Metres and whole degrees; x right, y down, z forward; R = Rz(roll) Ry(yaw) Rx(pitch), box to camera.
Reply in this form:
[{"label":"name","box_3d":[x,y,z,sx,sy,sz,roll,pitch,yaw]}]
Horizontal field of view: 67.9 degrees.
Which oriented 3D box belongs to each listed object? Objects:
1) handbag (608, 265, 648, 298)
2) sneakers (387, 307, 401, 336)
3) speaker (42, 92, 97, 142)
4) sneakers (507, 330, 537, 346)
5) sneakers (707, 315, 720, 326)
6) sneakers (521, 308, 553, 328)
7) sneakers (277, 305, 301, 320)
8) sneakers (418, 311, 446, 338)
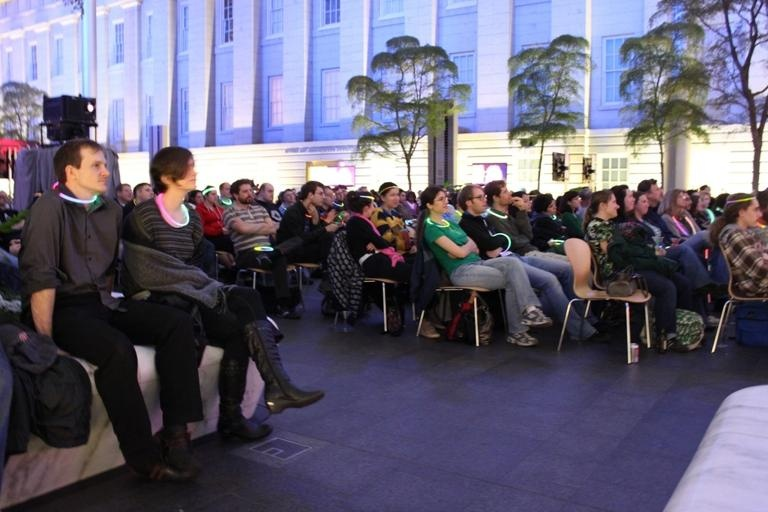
[{"label":"handbag","box_3d":[2.736,0.279,6.441,0.342,0.287,0.400,-1,1,30]},{"label":"sneakers","box_3d":[0.143,0.829,7.309,0.188,0.329,0.119,-3,-4,-2]},{"label":"speaker","box_3d":[-5.560,-2.497,10.228,0.737,0.893,0.836,-8,13,-39]},{"label":"sneakers","box_3d":[1.651,0.981,6.839,0.340,0.167,0.148,-2,0,30]},{"label":"sneakers","box_3d":[4.467,0.875,7.752,0.262,0.092,0.084,-7,6,-44]},{"label":"sneakers","box_3d":[1.757,0.714,6.581,0.392,0.189,0.158,1,2,21]},{"label":"sneakers","box_3d":[-1.347,0.820,8.238,0.412,0.173,0.140,-2,2,20]},{"label":"sneakers","box_3d":[0.561,0.897,7.203,0.173,0.281,0.477,-4,3,-44]}]
